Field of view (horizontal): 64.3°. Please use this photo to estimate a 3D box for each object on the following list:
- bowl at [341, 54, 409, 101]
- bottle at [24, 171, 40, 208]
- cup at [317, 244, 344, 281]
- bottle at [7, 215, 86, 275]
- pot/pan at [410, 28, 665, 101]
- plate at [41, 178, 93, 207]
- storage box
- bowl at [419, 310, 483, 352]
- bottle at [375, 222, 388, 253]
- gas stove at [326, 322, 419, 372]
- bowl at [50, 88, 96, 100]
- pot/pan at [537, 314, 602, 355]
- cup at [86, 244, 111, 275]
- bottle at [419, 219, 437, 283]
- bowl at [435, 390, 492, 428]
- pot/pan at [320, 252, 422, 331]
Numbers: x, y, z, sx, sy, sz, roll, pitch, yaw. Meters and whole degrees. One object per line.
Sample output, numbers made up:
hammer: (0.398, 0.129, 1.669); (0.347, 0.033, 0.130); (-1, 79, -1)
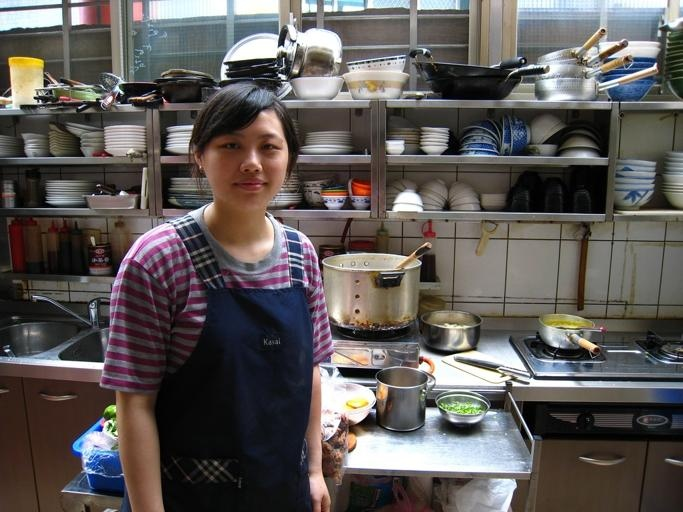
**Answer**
bowl: (0.164, -0.822, 2.591); (0.264, 0.128, 0.232); (-4, 10, -20)
bottle: (-1.739, -0.378, 3.065); (0.090, 0.208, 0.217); (-6, 9, -27)
cup: (-0.057, 0.021, 2.908); (0.152, 0.143, 0.142); (0, 7, 0)
bottle: (-1.681, -0.057, 3.110); (0.374, 0.309, 0.117); (1, 0, -5)
pot/pan: (0.862, -0.821, 2.533); (0.503, 0.175, 0.814); (-2, 8, -42)
plate: (-1.449, -0.329, 2.907); (0.254, 0.146, 0.161); (-3, 8, -17)
storage box: (-0.905, 0.742, 2.037); (0.207, 0.088, 0.283); (-4, 25, -21)
bowl: (0.547, 0.383, 2.728); (0.285, 0.177, 0.237); (-2, 7, -2)
bottle: (0.219, -0.100, 2.966); (0.066, 0.161, 0.091); (-1, 8, 3)
gas stove: (0.248, 0.436, 2.609); (0.488, 0.151, 0.450); (-7, -1, 35)
bowl: (-1.334, -0.809, 2.732); (0.149, 0.032, 0.072); (6, 2, -17)
pot/pan: (1.092, 0.365, 2.591); (0.169, 0.100, 0.296); (0, 11, -3)
cup: (-1.338, 0.021, 3.011); (0.169, 0.165, 0.155); (1, 8, 0)
bottle: (0.474, -0.023, 2.933); (0.082, 0.323, 0.132); (0, 8, 11)
bowl: (0.500, 0.636, 2.240); (0.209, 0.114, 0.166); (0, 7, 7)
pot/pan: (0.141, 0.171, 2.536); (0.435, 0.329, 0.404); (-1, 7, -1)
